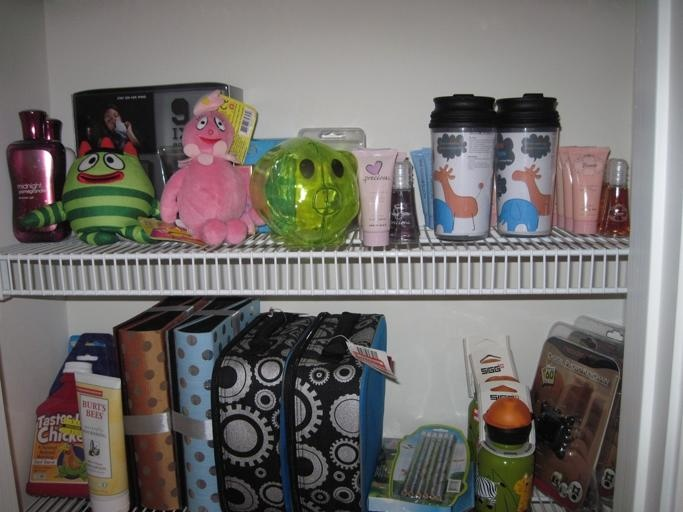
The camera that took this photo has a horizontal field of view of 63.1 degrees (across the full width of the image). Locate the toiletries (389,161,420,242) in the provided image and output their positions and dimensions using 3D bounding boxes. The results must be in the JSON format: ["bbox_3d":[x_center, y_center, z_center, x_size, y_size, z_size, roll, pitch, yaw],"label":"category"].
[{"bbox_3d":[0.112,-0.094,0.979,0.052,0.146,0.033,-5,9,-21],"label":"toiletries"}]

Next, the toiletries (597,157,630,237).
[{"bbox_3d":[0.481,-0.105,0.983,0.049,0.134,0.045,1,9,19],"label":"toiletries"}]

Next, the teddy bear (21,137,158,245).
[{"bbox_3d":[-0.447,-0.117,1.054,0.276,0.219,0.157,-4,-6,-27],"label":"teddy bear"}]

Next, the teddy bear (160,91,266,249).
[{"bbox_3d":[-0.239,-0.168,1.037,0.190,0.278,0.163,4,11,34],"label":"teddy bear"}]
